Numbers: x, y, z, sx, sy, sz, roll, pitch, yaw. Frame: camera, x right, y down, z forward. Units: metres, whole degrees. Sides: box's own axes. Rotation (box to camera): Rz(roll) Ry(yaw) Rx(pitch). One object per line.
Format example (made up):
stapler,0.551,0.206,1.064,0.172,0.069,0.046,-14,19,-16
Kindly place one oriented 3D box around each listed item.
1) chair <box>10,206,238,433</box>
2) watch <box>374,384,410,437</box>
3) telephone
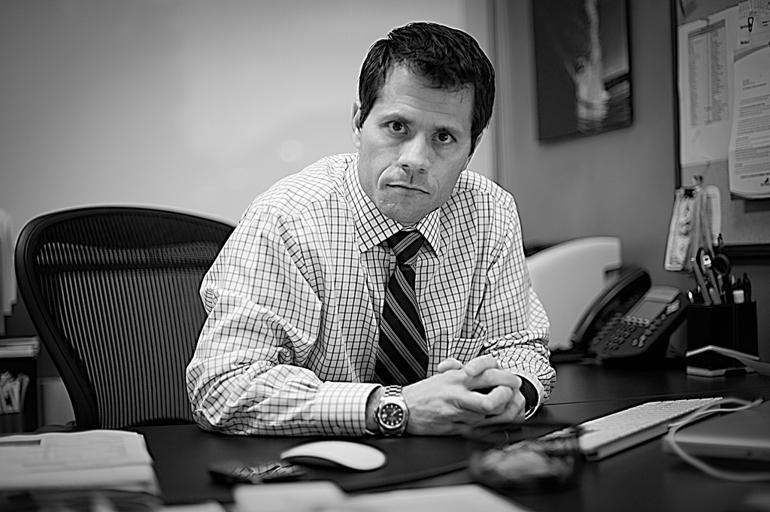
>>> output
chair,-0.712,0.139,1.893,0.598,0.647,0.530,-2,2,-30
watch,0.018,0.319,1.332,0.064,0.101,0.106,0,-9,2
telephone,0.735,0.199,1.983,0.265,0.154,0.408,-24,5,-10
